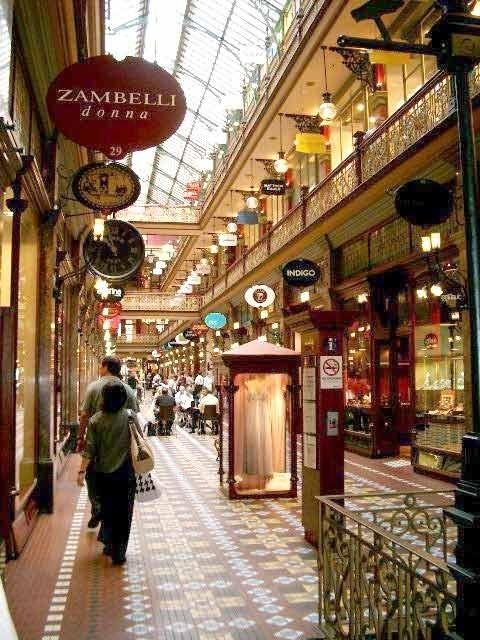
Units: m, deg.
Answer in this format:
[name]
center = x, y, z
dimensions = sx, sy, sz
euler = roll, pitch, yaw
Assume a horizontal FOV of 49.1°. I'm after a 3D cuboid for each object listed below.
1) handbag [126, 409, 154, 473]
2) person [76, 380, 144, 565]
[handbag]
center = -0.807, 1.034, 4.307
dimensions = 0.205, 0.539, 0.295
euler = 2, -7, -12
[person]
center = -1.034, 1.254, 4.255
dimensions = 0.460, 1.467, 0.313
euler = 1, -6, -12
